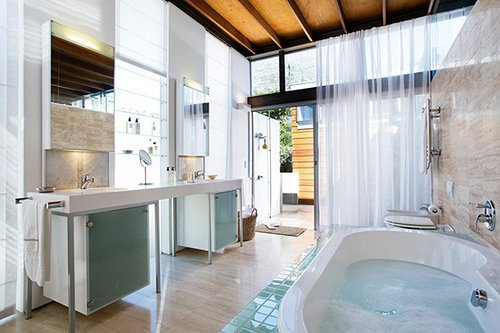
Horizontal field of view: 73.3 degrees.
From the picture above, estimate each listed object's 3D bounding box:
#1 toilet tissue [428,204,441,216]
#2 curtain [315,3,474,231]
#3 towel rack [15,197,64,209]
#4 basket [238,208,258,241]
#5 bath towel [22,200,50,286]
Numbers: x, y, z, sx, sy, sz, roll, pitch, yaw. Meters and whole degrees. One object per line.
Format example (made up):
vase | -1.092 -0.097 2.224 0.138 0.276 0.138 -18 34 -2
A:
toilet tissue | 2.237 0.527 4.065 0.126 0.138 0.132 7 14 35
curtain | 2.086 -0.706 4.752 2.472 3.463 0.750 3 2 17
towel rack | -1.952 0.348 3.221 0.356 0.071 0.203 3 0 34
basket | 0.018 0.945 5.465 0.151 0.467 0.394 4 12 22
bath towel | -2.037 0.694 3.205 0.532 0.867 0.225 -1 -1 35
